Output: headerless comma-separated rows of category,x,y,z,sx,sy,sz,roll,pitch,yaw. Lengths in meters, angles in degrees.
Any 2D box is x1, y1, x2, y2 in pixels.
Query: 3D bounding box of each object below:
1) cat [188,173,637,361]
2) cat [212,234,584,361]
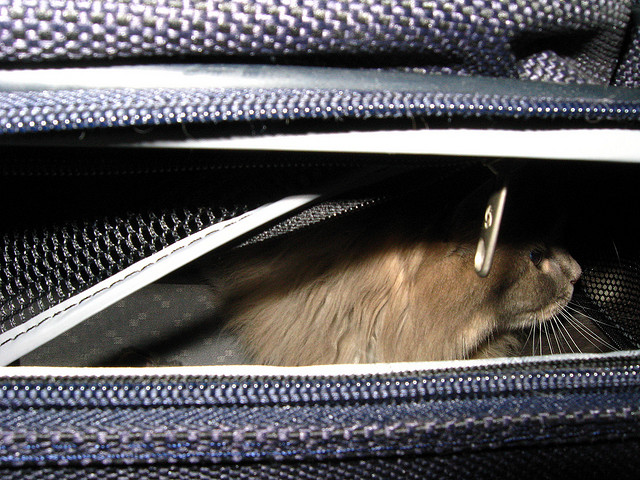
cat,0.104,0.046,1.298,0.512,0.392,0.166,0,19,-22
cat,0.136,0.115,1.203,0.491,0.203,0.312,10,-34,-5
